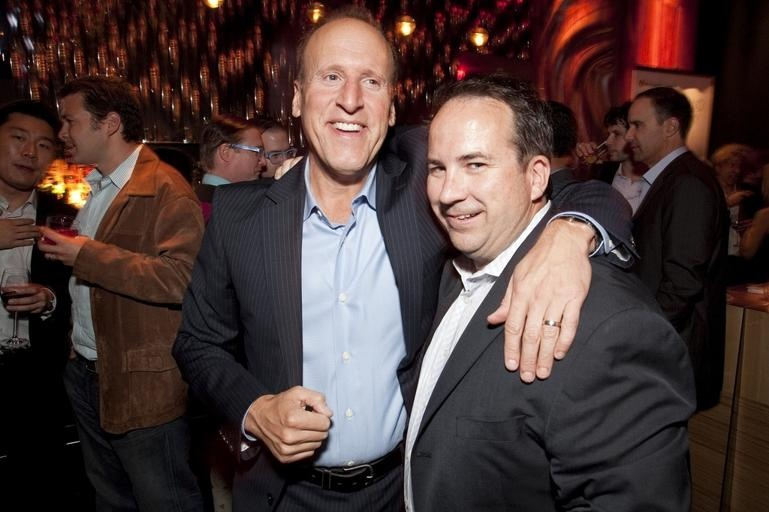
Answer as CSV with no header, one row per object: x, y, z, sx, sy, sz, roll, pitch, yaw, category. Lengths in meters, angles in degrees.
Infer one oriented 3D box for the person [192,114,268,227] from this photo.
-1.296,-0.753,4.620,0.513,0.853,0.646,3,21,-5,person

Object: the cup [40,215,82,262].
-1.905,-0.107,3.256,0.252,0.256,0.194,9,12,18,cup

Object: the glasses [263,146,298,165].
-1.034,-0.966,5.197,0.219,0.069,0.219,13,26,33,glasses

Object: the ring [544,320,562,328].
0.663,0.267,2.209,0.064,0.030,0.012,2,7,-1,ring
